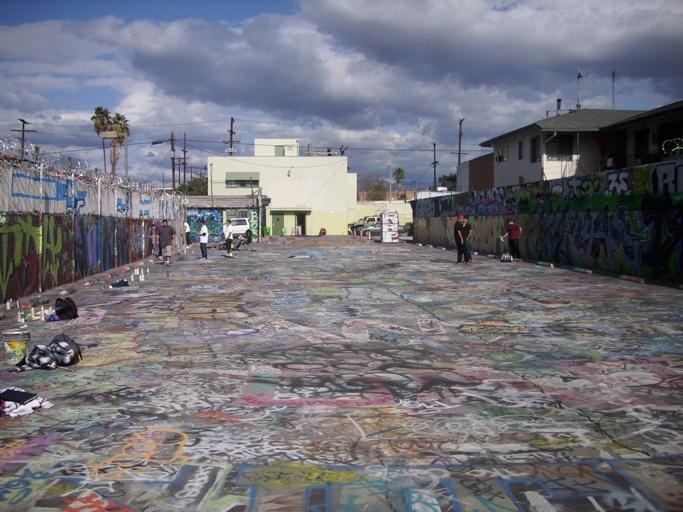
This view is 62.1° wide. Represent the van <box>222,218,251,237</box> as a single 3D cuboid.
[{"bbox_3d":[-9.882,-2.671,50.513,3.107,1.871,1.898,2,1,-3],"label":"van"}]

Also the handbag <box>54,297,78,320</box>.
[{"bbox_3d":[-5.607,1.007,11.640,0.366,0.290,0.462,1,19,-12],"label":"handbag"}]

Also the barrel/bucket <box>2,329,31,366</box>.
[{"bbox_3d":[-4.793,1.311,8.444,0.320,0.435,0.678,-4,7,-32],"label":"barrel/bucket"}]
